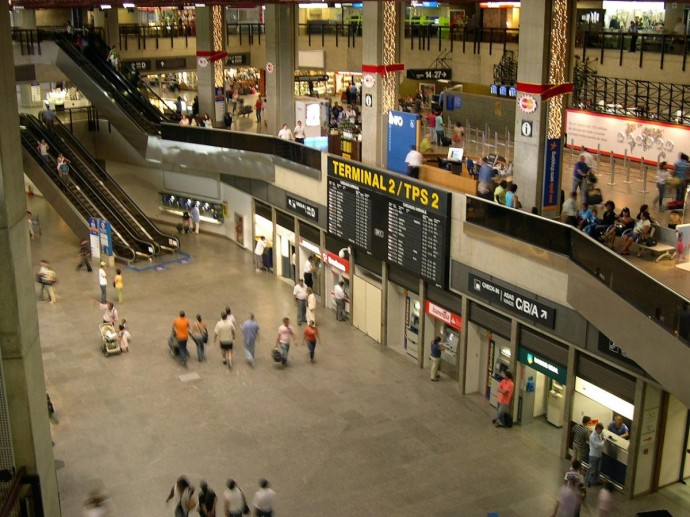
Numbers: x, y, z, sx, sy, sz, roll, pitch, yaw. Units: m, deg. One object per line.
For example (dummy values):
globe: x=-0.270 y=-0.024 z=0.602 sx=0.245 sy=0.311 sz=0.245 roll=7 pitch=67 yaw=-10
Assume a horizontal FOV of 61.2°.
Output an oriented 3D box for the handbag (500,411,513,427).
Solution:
handbag: x=3.891 y=3.854 z=14.040 sx=0.240 sy=0.464 sz=0.248 roll=-9 pitch=19 yaw=-28

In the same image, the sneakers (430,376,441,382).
sneakers: x=2.518 y=3.330 z=16.071 sx=0.205 sy=0.091 sz=0.114 roll=-13 pitch=0 yaw=6

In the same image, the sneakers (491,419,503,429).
sneakers: x=3.714 y=4.026 z=14.162 sx=0.097 sy=0.166 sz=0.226 roll=-46 pitch=11 yaw=-15

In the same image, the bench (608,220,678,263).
bench: x=6.389 y=-0.367 z=12.522 sx=1.314 sy=0.654 sz=0.690 roll=8 pitch=20 yaw=33

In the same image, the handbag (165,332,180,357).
handbag: x=-4.977 y=2.538 z=16.958 sx=0.188 sy=0.730 sz=0.371 roll=-11 pitch=-8 yaw=2

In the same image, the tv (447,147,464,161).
tv: x=3.530 y=-3.303 z=18.550 sx=0.253 sy=0.560 sz=0.478 roll=3 pitch=-1 yaw=-27

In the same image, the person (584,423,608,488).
person: x=5.209 y=4.035 z=12.114 sx=0.307 sy=1.463 sz=0.533 roll=6 pitch=18 yaw=30

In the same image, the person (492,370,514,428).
person: x=3.801 y=3.358 z=13.930 sx=0.501 sy=1.466 sz=0.436 roll=2 pitch=17 yaw=16
